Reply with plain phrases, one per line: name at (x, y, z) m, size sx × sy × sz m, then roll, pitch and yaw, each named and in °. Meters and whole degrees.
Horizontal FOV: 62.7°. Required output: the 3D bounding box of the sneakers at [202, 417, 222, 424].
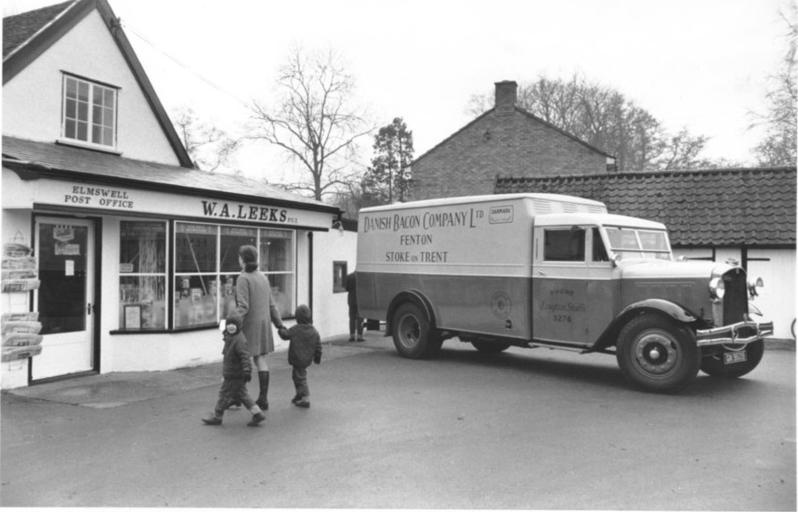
sneakers at (-3.067, 2.702, 10.799) m, size 0.234 × 0.115 × 0.137 m, roll 6°, pitch -8°, yaw 2°

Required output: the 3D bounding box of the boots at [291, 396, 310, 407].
boots at (-1.756, 2.586, 11.703) m, size 0.121 × 0.155 × 0.360 m, roll 1°, pitch 1°, yaw -41°

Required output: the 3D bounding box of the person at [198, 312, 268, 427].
person at (-2.646, 1.862, 10.827) m, size 0.998 × 1.826 × 0.881 m, roll 4°, pitch 10°, yaw 23°

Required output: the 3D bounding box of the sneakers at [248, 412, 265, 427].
sneakers at (-2.313, 2.666, 10.716) m, size 0.150 × 0.186 × 0.414 m, roll 3°, pitch -7°, yaw -38°

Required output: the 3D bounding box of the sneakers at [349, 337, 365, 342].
sneakers at (-1.162, 2.321, 18.423) m, size 0.462 × 0.202 × 0.156 m, roll 0°, pitch 0°, yaw -36°

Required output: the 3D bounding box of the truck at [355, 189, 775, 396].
truck at (3.725, 0.544, 15.562) m, size 9.070 × 3.908 × 4.118 m, roll -2°, pitch -3°, yaw 36°
